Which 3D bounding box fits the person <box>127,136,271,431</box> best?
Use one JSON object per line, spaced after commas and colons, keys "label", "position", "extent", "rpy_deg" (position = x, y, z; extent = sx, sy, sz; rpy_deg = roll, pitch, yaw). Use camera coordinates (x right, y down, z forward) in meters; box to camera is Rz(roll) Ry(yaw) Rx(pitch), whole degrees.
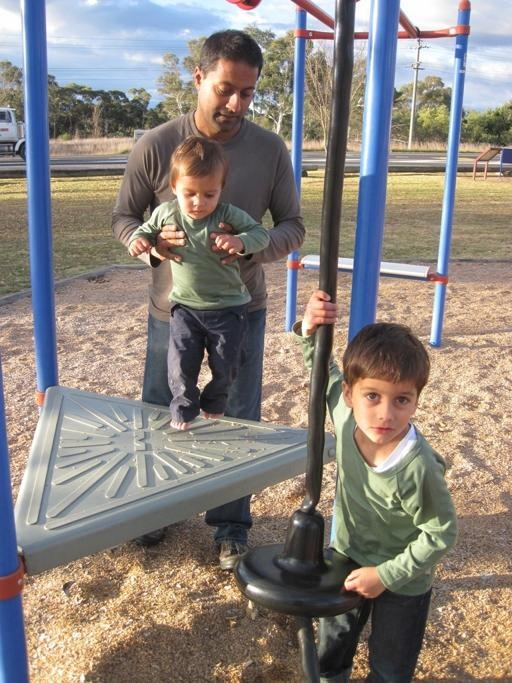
{"label": "person", "position": [-0.166, -0.176, 1.607], "extent": [0.384, 0.768, 0.355], "rpy_deg": [-8, 15, -35]}

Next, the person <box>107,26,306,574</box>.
{"label": "person", "position": [-0.205, -0.155, 1.900], "extent": [0.611, 1.582, 0.552], "rpy_deg": [10, 26, 15]}
